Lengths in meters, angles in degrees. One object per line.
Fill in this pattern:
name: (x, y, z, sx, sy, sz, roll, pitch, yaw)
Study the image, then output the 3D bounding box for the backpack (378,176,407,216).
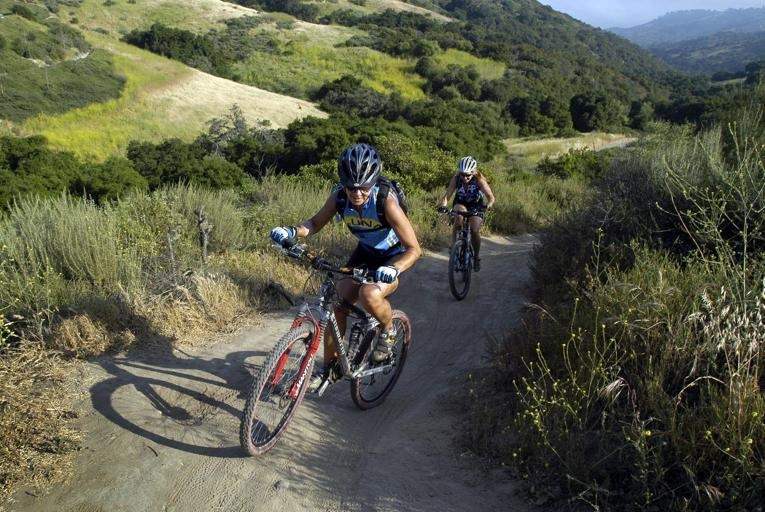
backpack: (0.106, -0.863, 8.279, 0.435, 0.533, 0.327, -24, 19, -35)

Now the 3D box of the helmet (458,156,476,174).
helmet: (1.556, -1.668, 11.713, 0.277, 0.365, 0.415, 1, 20, 18)

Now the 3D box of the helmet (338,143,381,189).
helmet: (-0.292, -1.119, 7.864, 0.512, 0.525, 0.310, -7, 18, -6)

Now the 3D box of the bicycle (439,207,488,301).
bicycle: (1.433, -0.066, 11.700, 0.475, 1.606, 1.119, 11, 24, 40)
